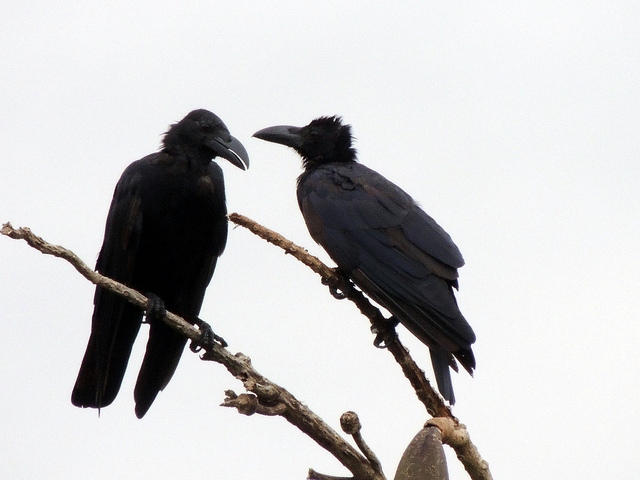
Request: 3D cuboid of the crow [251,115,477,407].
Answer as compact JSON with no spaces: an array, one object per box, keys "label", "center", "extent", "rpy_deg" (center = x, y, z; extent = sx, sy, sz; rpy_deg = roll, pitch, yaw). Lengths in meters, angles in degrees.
[{"label":"crow","center":[0.414,0.217,8.124],"extent":[1.846,2.500,0.809],"rpy_deg":[-6,-29,19]}]
